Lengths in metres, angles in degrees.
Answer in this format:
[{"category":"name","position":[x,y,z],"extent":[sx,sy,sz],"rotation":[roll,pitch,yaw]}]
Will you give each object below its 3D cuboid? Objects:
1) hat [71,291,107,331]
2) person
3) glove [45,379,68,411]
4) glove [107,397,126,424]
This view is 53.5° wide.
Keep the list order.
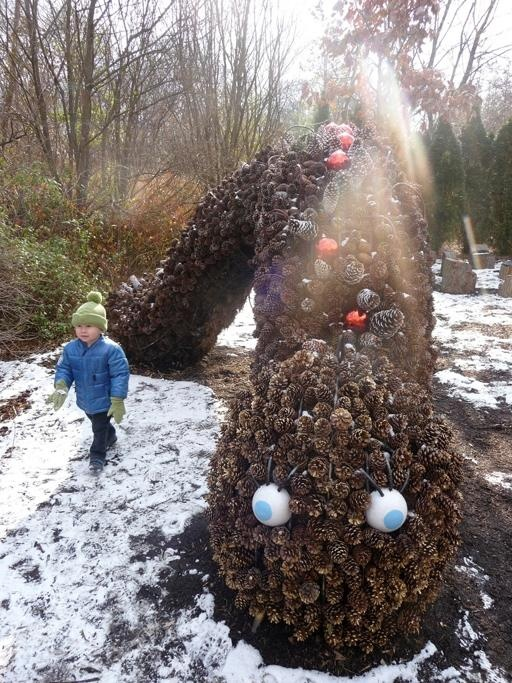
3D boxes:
[{"category":"hat","position":[-0.981,-0.188,3.120],"extent":[0.221,0.239,0.244],"rotation":[6,7,-8]},{"category":"person","position":[-1.010,0.355,3.103],"extent":[0.477,0.823,0.460],"rotation":[-12,19,-40]},{"category":"glove","position":[-1.167,0.317,2.953],"extent":[0.107,0.182,0.054],"rotation":[29,-43,-31]},{"category":"glove","position":[-0.816,0.404,2.966],"extent":[0.054,0.158,0.126],"rotation":[1,-15,-23]}]
